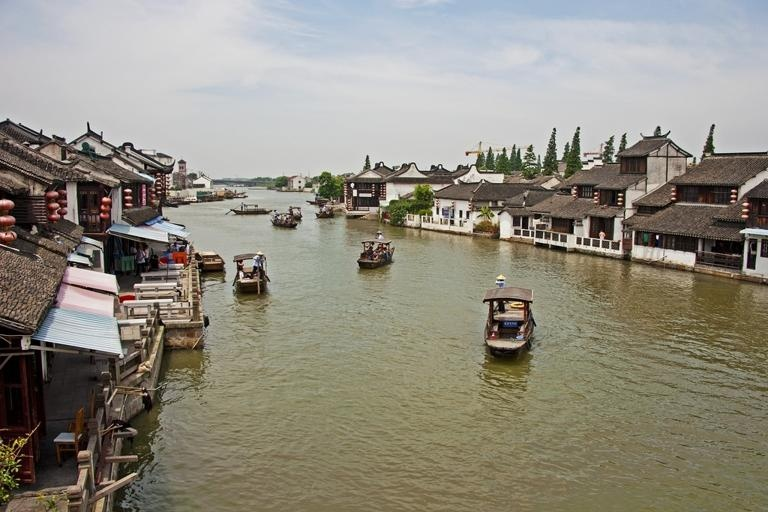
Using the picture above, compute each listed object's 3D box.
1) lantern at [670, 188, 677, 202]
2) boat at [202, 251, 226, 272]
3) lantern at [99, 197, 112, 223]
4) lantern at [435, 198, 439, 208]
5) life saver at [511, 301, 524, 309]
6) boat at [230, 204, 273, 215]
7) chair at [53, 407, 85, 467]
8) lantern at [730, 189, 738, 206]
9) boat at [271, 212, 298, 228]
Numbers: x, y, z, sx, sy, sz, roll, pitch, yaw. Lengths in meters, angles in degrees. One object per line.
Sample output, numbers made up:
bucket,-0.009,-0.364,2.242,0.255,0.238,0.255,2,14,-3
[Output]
lantern,24.907,-5.327,56.396,0.445,1.258,1.008,2,4,12
boat,-14.251,0.581,54.318,1.644,1.386,2.516,0,3,-21
lantern,-15.441,-2.654,36.127,0.562,1.349,1.412,-1,4,-25
lantern,7.346,-7.148,89.061,0.282,1.034,0.794,-3,1,-37
life saver,7.446,2.747,36.364,0.297,0.307,0.896,5,-7,-19
boat,-24.565,-8.742,121.601,5.722,2.075,5.223,1,3,6
chair,-10.250,5.851,21.388,0.848,1.555,1.255,0,4,-17
lantern,26.941,-4.646,50.401,0.299,1.125,0.765,1,4,-4
boat,-14.433,-5.184,95.575,2.015,2.032,7.476,-3,10,-24
